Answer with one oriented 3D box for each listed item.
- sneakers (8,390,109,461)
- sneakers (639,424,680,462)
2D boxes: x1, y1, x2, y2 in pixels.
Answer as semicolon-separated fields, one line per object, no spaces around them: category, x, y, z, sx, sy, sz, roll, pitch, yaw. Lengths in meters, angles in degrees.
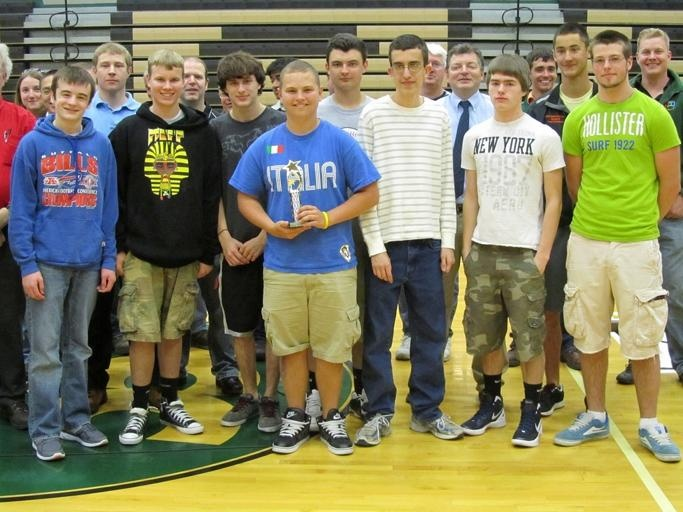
sneakers;-1.297;0.775;3.132;0.291;0.115;0.367;-5;-2;-42
sneakers;1.430;0.813;3.042;0.162;0.119;0.184;-2;14;-8
